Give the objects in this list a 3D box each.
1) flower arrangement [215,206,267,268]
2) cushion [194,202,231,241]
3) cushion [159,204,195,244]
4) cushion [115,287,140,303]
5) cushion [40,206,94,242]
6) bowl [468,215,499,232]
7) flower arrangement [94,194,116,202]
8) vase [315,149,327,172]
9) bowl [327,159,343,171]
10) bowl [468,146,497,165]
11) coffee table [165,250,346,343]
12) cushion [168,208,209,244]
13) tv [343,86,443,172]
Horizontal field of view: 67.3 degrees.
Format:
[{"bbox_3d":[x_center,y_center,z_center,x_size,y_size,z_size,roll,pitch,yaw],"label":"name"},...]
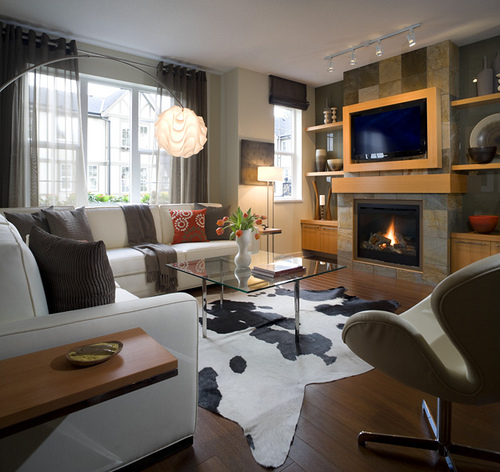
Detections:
[{"bbox_3d":[-0.079,0.016,3.065,0.390,0.480,0.410,0,-2,-6],"label":"flower arrangement"},{"bbox_3d":[-0.434,-0.148,4.264,0.350,0.472,0.165,-1,-11,-3],"label":"cushion"},{"bbox_3d":[-0.963,-0.124,4.538,0.367,0.438,0.133,1,-11,-16],"label":"cushion"},{"bbox_3d":[-0.748,0.353,2.250,0.182,0.052,0.195,0,2,-36],"label":"cushion"},{"bbox_3d":[-1.631,-0.103,3.398,0.117,0.434,0.402,-24,-9,22],"label":"cushion"},{"bbox_3d":[2.437,-0.107,3.968,0.185,0.145,0.188,-1,1,0],"label":"bowl"},{"bbox_3d":[-1.894,-0.493,4.897,0.375,0.102,0.126,8,11,44],"label":"flower arrangement"},{"bbox_3d":[1.137,-1.203,5.985,0.181,0.372,0.258,1,8,10],"label":"vase"},{"bbox_3d":[1.268,-1.054,5.615,0.152,0.120,0.161,-2,2,0],"label":"bowl"},{"bbox_3d":[2.444,-0.849,3.985,0.182,0.140,0.199,0,1,0],"label":"bowl"},{"bbox_3d":[0.112,0.259,2.821,0.813,0.416,0.813,-3,4,-42],"label":"coffee table"},{"bbox_3d":[-0.704,-0.093,4.291,0.313,0.347,0.117,2,-14,-16],"label":"cushion"},{"bbox_3d":[1.743,-1.265,4.479,0.137,0.870,1.077,-2,3,-33],"label":"tv"}]
